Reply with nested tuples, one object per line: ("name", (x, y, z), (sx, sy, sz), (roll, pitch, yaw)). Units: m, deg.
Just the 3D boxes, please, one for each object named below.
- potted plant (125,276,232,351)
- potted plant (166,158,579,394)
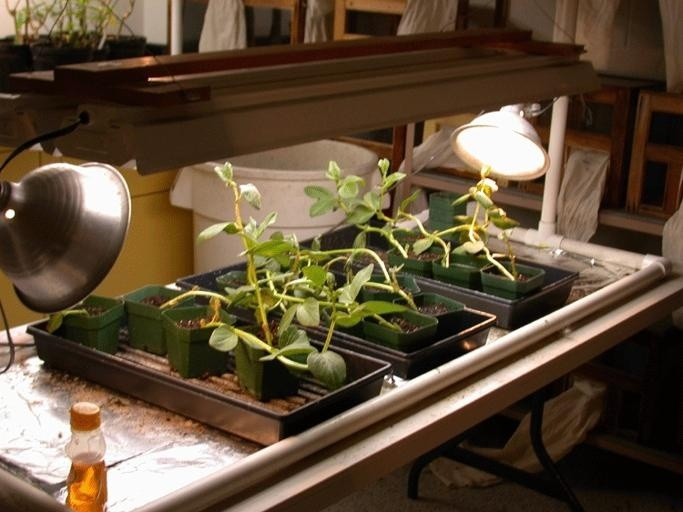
("potted plant", (-0.376, 0.129, 1.244), (0.117, 0.109, 0.169), (11, 20, 16))
("potted plant", (-0.039, 0.048, 1.282), (0.800, 0.309, 0.594), (-14, 23, -40))
